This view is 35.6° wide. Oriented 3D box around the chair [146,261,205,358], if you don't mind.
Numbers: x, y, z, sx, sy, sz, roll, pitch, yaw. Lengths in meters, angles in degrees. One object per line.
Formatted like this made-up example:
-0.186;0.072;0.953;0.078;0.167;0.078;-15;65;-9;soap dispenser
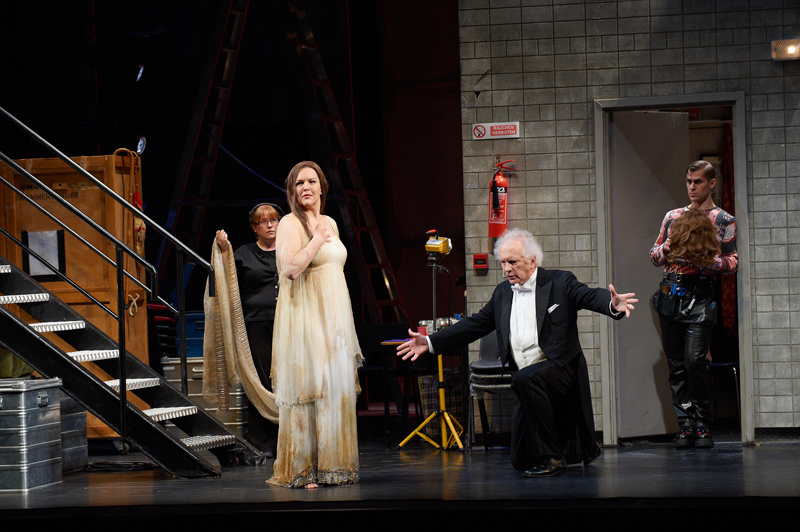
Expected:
-2.182;0.388;12.378;0.562;1.058;1.416;-4;-7;-8;chair

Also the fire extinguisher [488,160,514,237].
0.926;-0.609;11.373;0.291;0.729;0.158;-6;-7;5;fire extinguisher

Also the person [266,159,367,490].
-0.688;0.440;9.774;0.751;2.506;0.482;-4;-7;-7;person

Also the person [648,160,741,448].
2.636;0.324;11.004;0.780;2.475;0.407;-6;-7;10;person

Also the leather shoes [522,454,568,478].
1.165;1.594;10.005;0.330;0.103;0.131;-1;-4;-22;leather shoes
